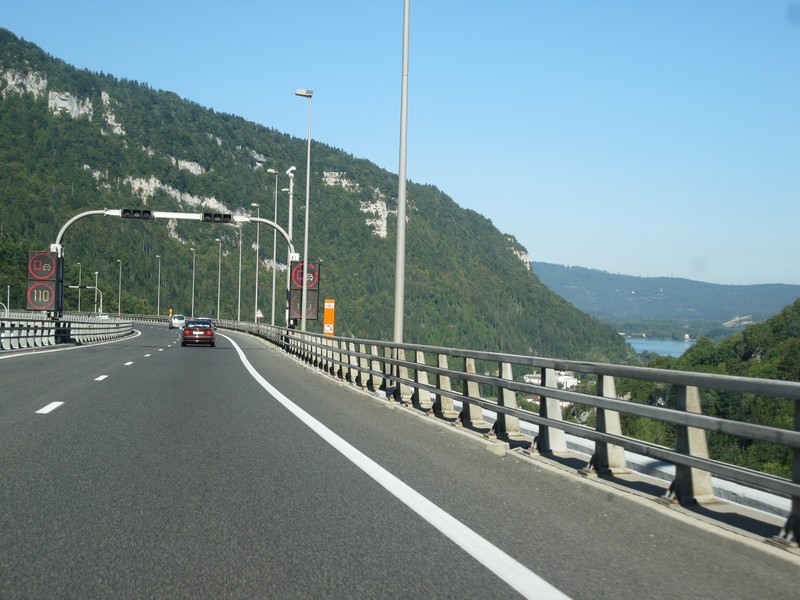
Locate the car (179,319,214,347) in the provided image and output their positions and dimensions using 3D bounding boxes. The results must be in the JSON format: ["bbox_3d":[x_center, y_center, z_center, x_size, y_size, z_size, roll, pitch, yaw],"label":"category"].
[{"bbox_3d":[-11.716,1.911,43.267,1.782,1.510,2.182,2,1,-20],"label":"car"}]

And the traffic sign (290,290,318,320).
[{"bbox_3d":[-5.722,0.213,43.676,1.824,1.815,0.449,0,-2,21],"label":"traffic sign"}]

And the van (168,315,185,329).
[{"bbox_3d":[-26.965,2.531,89.878,1.615,1.569,2.589,1,5,-15],"label":"van"}]
